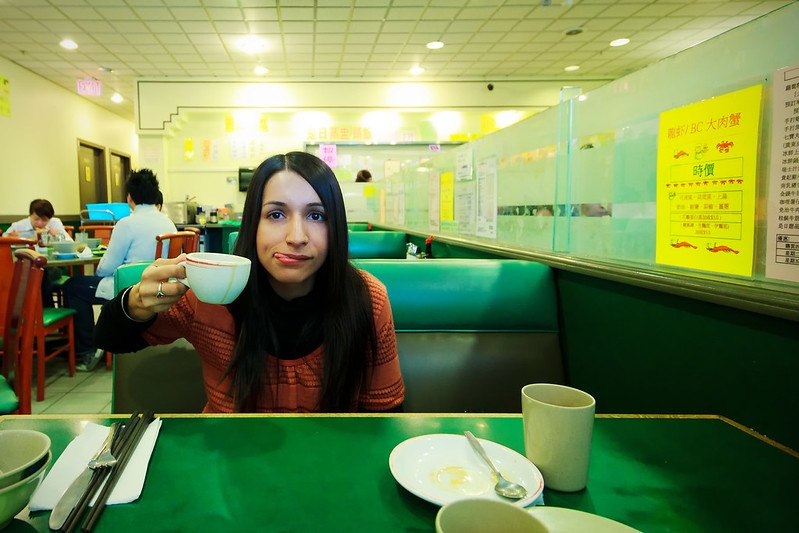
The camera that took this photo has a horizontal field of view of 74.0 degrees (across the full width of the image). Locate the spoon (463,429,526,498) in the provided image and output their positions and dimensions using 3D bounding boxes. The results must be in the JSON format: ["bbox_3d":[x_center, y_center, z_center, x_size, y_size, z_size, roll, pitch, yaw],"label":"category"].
[{"bbox_3d":[0.215,0.430,1.179,0.048,0.021,0.185,-2,18,-18],"label":"spoon"}]

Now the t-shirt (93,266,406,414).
[{"bbox_3d":[-0.384,0.266,1.554,0.676,0.566,0.516,2,-32,-7],"label":"t-shirt"}]

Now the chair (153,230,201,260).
[{"bbox_3d":[-1.480,-0.149,3.460,0.158,0.226,0.197,13,20,4],"label":"chair"}]

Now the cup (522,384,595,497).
[{"bbox_3d":[0.350,0.368,1.174,0.199,0.219,0.221,-1,-1,3],"label":"cup"}]

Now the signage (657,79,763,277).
[{"bbox_3d":[0.816,-0.222,1.410,0.041,0.467,0.265,-6,9,-33],"label":"signage"}]

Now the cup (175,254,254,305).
[{"bbox_3d":[-0.471,0.039,1.343,0.155,0.152,0.196,-4,8,-22],"label":"cup"}]
